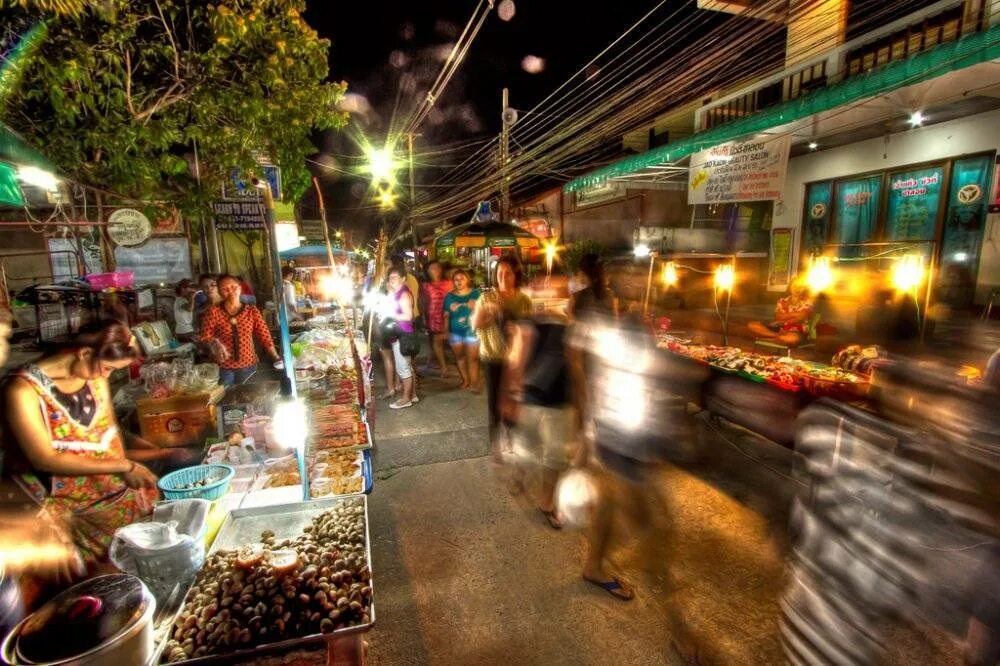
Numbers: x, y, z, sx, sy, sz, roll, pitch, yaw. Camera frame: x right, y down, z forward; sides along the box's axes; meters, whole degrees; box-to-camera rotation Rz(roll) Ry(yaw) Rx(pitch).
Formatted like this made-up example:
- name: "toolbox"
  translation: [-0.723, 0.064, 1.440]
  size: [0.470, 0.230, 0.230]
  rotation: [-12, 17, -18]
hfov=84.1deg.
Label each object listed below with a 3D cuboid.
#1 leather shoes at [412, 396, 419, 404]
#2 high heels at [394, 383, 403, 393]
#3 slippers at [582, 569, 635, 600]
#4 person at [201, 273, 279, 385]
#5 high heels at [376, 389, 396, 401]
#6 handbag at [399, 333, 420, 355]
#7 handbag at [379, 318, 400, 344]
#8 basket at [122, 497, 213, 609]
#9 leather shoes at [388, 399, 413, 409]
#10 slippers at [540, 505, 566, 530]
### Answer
- name: "leather shoes"
  translation: [-1.465, 1.147, 9.538]
  size: [0.068, 0.102, 0.112]
  rotation: [-8, 16, -2]
- name: "high heels"
  translation: [-1.843, 0.997, 9.985]
  size: [0.180, 0.222, 0.530]
  rotation: [1, -5, -14]
- name: "slippers"
  translation: [1.078, 2.483, 5.481]
  size: [0.412, 0.111, 0.163]
  rotation: [7, 8, 32]
- name: "person"
  translation: [-3.669, -0.046, 7.687]
  size: [0.881, 1.524, 0.608]
  rotation: [-7, 12, -30]
- name: "high heels"
  translation: [-2.032, 1.098, 9.671]
  size: [0.395, 0.167, 0.142]
  rotation: [4, -2, -28]
- name: "handbag"
  translation: [-1.471, 0.180, 8.827]
  size: [0.211, 0.381, 0.354]
  rotation: [3, 4, 33]
- name: "handbag"
  translation: [-1.792, -0.050, 8.934]
  size: [0.172, 0.335, 0.234]
  rotation: [32, 63, 26]
- name: "basket"
  translation: [-2.633, 1.736, 4.519]
  size: [0.554, 0.655, 0.666]
  rotation: [-4, 2, -14]
- name: "leather shoes"
  translation: [-1.697, 1.197, 9.304]
  size: [0.291, 0.114, 0.161]
  rotation: [3, -4, -24]
- name: "slippers"
  translation: [0.579, 2.114, 6.248]
  size: [0.069, 0.164, 0.254]
  rotation: [36, -19, -21]
